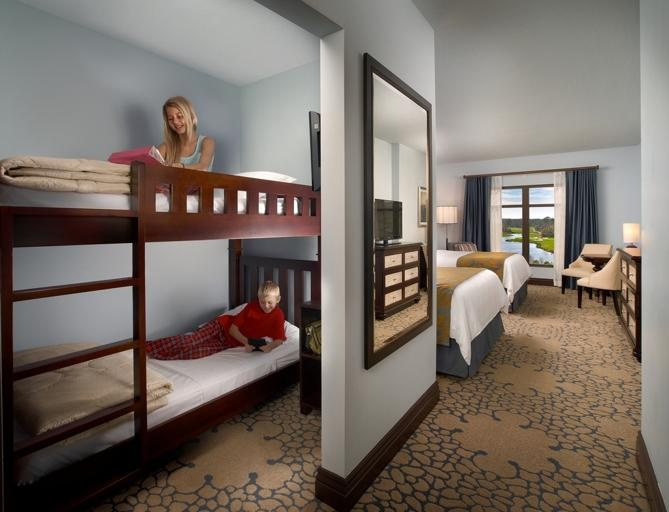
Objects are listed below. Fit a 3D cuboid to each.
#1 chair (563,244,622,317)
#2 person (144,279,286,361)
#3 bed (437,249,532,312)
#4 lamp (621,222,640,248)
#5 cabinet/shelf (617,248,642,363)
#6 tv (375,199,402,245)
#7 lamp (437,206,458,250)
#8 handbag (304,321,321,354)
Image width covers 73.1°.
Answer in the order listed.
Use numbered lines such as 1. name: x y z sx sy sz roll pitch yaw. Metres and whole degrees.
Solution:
1. chair: 3.605 0.315 6.104 0.771 1.201 0.840 0 2 -44
2. person: -1.042 0.551 3.834 1.411 0.761 0.692 3 -2 -39
3. bed: 2.122 0.271 6.499 1.285 0.451 0.879 1 3 30
4. lamp: 4.480 -0.304 6.768 0.194 0.359 0.305 4 10 36
5. cabinet/shelf: 3.046 0.523 4.642 0.209 0.627 1.049 0 3 29
6. tv: 0.364 -0.229 3.090 0.042 0.228 0.309 1 3 29
7. lamp: 2.314 -0.596 9.124 0.378 0.813 0.636 1 8 16
8. handbag: -0.170 0.644 3.511 0.111 0.217 0.222 -6 1 16
